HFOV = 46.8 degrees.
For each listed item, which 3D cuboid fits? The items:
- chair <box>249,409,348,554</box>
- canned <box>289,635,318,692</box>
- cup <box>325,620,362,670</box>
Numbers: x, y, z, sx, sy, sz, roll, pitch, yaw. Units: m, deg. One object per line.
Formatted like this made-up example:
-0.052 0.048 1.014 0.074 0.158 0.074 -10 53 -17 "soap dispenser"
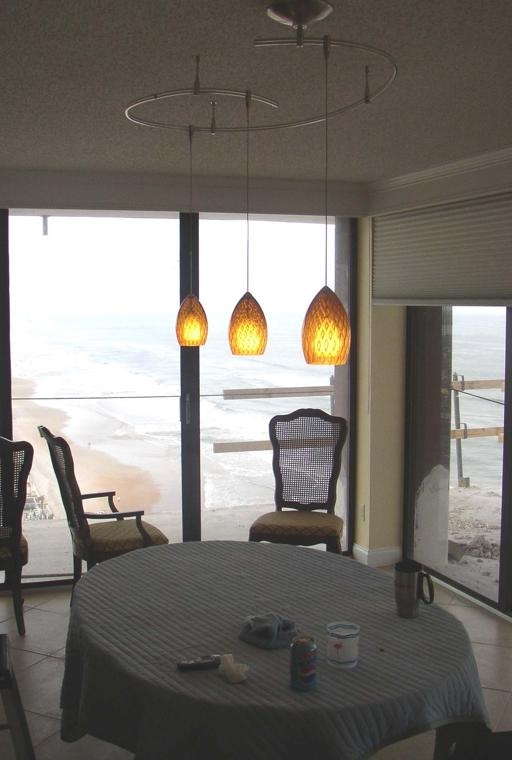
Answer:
0.275 0.591 3.630 0.520 0.774 0.533 1 0 12 "chair"
0.114 0.680 1.420 0.064 0.115 0.073 1 0 6 "canned"
0.229 0.676 1.539 0.089 0.102 0.095 -1 1 0 "cup"
